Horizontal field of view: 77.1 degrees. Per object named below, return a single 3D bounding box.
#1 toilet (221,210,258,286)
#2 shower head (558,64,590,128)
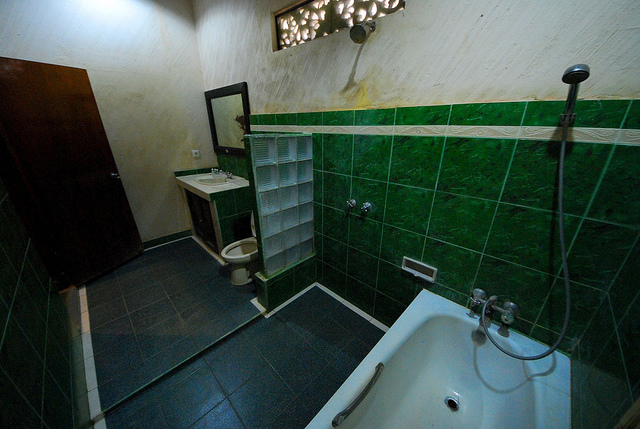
[{"bbox_3d":[-0.842,0.397,4.174,0.359,0.537,0.424,-3,26,-12],"label":"toilet"},{"bbox_3d":[1.688,-0.813,2.728,0.200,0.418,0.148,19,24,32],"label":"shower head"}]
